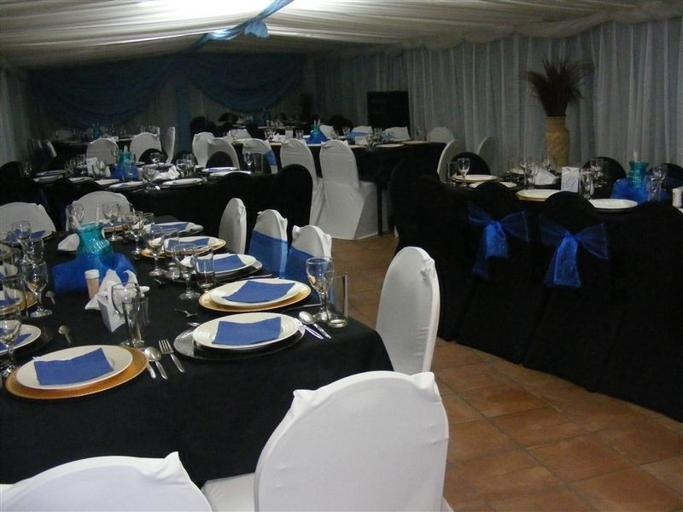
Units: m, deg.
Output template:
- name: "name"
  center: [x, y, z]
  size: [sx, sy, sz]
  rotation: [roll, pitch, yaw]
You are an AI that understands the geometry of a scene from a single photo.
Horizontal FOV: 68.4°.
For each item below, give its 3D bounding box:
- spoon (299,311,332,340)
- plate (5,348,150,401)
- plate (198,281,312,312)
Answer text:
- name: "spoon"
  center: [-0.106, 0.252, 1.870]
  size: [0.047, 0.039, 0.261]
  rotation: [-9, 29, -18]
- name: "plate"
  center: [-0.807, 0.372, 1.544]
  size: [0.405, 0.044, 0.199]
  rotation: [-7, 17, -21]
- name: "plate"
  center: [-0.357, 0.160, 2.102]
  size: [0.441, 0.056, 0.287]
  rotation: [1, 16, 5]
